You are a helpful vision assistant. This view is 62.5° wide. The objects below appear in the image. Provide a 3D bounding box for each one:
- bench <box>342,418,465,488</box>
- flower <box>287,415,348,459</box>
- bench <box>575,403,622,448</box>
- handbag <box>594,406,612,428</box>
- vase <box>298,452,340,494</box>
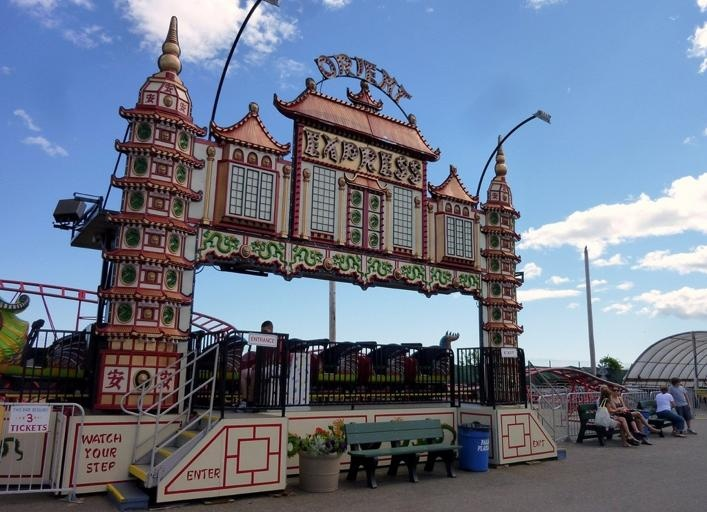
[{"bbox_3d":[1.317,5.136,15.386,3.710,1.567,1.803,12,-21,-41],"label":"bench"},{"bbox_3d":[-0.753,4.606,14.380,1.116,0.602,1.256,11,9,25],"label":"flower"},{"bbox_3d":[8.876,6.122,21.004,0.658,0.965,1.411,-17,-31,42],"label":"bench"},{"bbox_3d":[8.719,5.716,20.638,0.743,0.769,0.474,2,-12,-7],"label":"handbag"},{"bbox_3d":[-0.878,5.275,14.289,1.079,0.843,1.079,8,-15,-25],"label":"vase"}]
